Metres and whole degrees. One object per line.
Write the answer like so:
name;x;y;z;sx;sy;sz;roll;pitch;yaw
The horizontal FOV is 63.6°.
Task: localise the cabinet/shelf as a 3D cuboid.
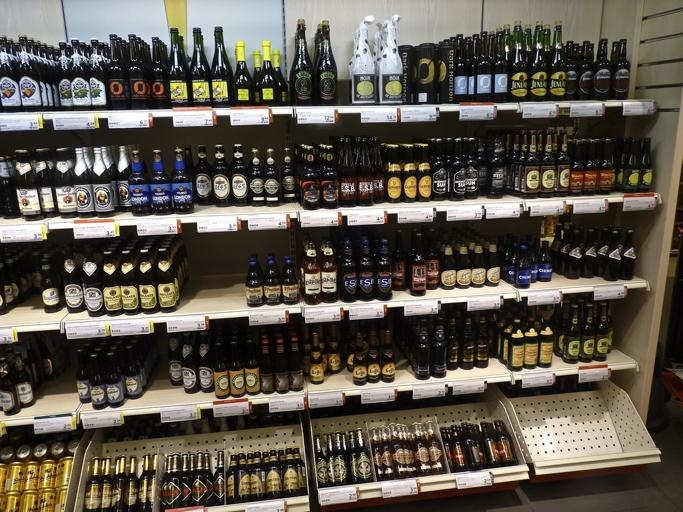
cabinet/shelf;-0.122;0.374;4.123;2.913;1.768;1.029;-3;25;-4
